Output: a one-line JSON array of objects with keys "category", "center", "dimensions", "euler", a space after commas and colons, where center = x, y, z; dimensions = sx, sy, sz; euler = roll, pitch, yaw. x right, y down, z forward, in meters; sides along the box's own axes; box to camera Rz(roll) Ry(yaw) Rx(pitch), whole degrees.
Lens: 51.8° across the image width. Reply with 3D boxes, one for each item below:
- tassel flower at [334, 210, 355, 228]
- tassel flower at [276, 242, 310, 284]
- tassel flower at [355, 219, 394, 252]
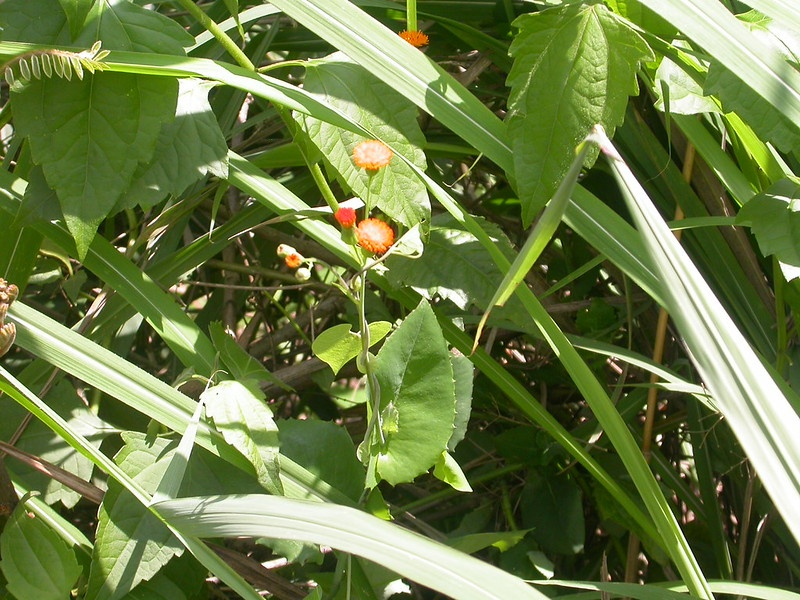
[{"category": "tassel flower", "center": [-0.050, -0.074, 0.742], "dimensions": [0.015, 0.016, 0.017], "euler": [-16, 52, -9]}, {"category": "tassel flower", "center": [-0.129, -0.046, 1.001], "dimensions": [0.029, 0.022, 0.061], "euler": [-46, 54, 13]}, {"category": "tassel flower", "center": [-0.017, -0.055, 0.760], "dimensions": [0.027, 0.012, 0.033], "euler": [-5, 77, -21]}]
